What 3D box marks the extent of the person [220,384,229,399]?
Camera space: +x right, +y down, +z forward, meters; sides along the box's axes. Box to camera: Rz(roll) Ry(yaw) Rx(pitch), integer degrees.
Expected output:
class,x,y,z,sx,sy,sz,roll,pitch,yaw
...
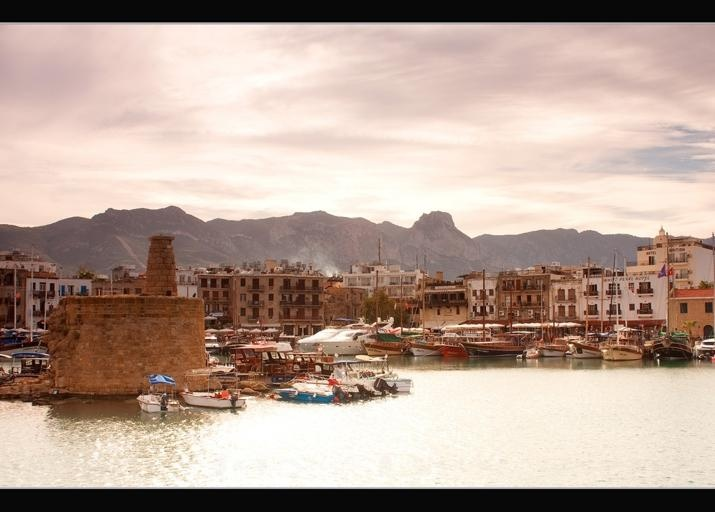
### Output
class,x,y,z,sx,sy,sz,roll,pitch,yaw
person,-6.890,7.005,45.416,0.445,0.910,0.425,5,9,22
